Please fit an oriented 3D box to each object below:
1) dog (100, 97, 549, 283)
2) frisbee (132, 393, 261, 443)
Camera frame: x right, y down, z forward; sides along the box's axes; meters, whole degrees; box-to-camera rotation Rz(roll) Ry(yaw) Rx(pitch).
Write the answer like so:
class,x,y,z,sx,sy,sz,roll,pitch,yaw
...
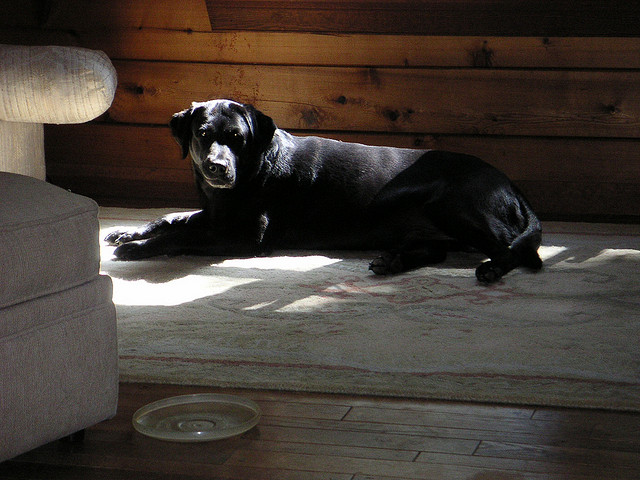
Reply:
class,x,y,z,sx,sy,sz,roll,pitch,yaw
dog,0.077,-0.295,3.361,2.194,0.836,0.833,5,12,12
frisbee,-0.308,0.476,1.728,0.283,0.030,0.216,12,-7,-14
